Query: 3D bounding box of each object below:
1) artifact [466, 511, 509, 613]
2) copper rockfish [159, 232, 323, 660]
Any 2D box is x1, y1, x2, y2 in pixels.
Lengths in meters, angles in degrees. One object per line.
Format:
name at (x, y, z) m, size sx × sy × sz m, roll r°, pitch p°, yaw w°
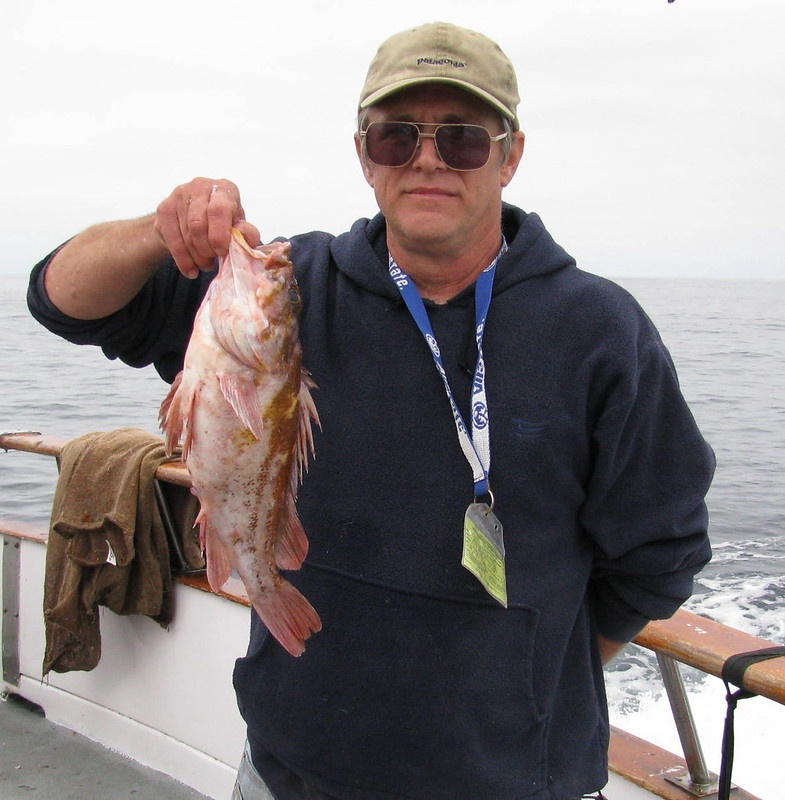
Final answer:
artifact at (0.235, 0.398, 2.329) m, size 0.101 × 0.248 × 0.211 m, roll -1°, pitch 7°, yaw 5°
copper rockfish at (-0.396, 0.098, 2.624) m, size 0.610 × 1.076 × 0.443 m, roll -3°, pitch 6°, yaw -33°
